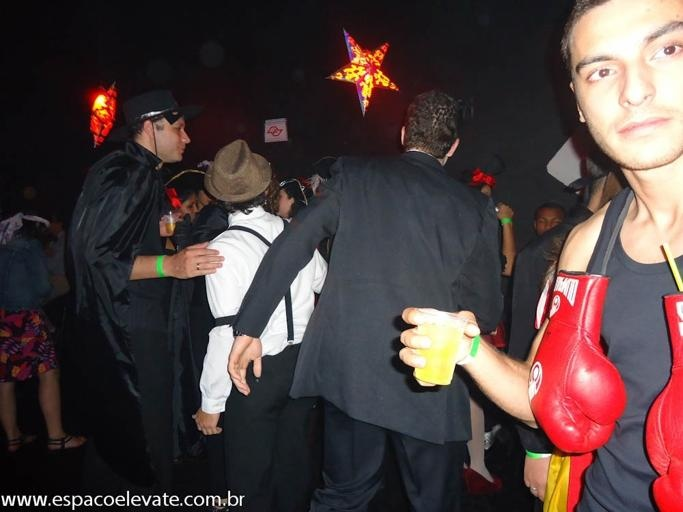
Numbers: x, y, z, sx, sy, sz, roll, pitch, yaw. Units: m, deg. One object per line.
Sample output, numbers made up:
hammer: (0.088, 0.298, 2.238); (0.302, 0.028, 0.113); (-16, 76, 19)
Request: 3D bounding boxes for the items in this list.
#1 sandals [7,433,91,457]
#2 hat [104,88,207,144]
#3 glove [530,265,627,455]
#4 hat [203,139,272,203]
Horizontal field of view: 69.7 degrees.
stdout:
sandals: (-2.495, 1.580, 4.189); (0.619, 0.177, 0.235); (-6, -8, -2)
hat: (-1.358, -0.900, 3.547); (0.564, 0.202, 0.478); (-23, 9, -7)
glove: (0.924, 0.397, 1.932); (0.389, 0.697, 0.300); (-1, -5, 27)
hat: (-0.631, -0.508, 3.063); (0.392, 0.425, 0.184); (8, -17, 12)
